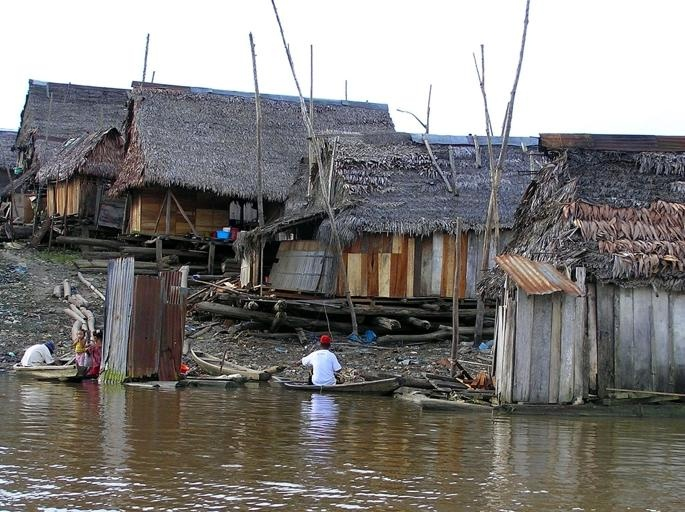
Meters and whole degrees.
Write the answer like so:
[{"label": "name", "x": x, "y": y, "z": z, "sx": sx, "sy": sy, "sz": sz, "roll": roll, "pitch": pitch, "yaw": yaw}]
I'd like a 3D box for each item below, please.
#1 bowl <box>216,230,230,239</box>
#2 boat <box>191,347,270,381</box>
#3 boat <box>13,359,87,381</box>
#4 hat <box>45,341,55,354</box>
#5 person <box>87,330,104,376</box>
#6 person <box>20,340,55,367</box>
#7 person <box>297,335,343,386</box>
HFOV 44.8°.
[{"label": "bowl", "x": -3.913, "y": -0.699, "z": 27.243, "sx": 0.433, "sy": 0.330, "sz": 0.315, "roll": 4, "pitch": -8, "yaw": -15}, {"label": "boat", "x": -2.502, "y": 2.426, "z": 18.266, "sx": 0.852, "sy": 0.612, "sz": 2.146, "roll": 9, "pitch": -11, "yaw": -42}, {"label": "boat", "x": -6.046, "y": 2.432, "z": 17.364, "sx": 0.972, "sy": 0.235, "sz": 0.572, "roll": 1, "pitch": 1, "yaw": 1}, {"label": "hat", "x": -6.438, "y": 2.022, "z": 18.315, "sx": 0.202, "sy": 0.262, "sz": 0.254, "roll": -15, "pitch": -6, "yaw": -4}, {"label": "person", "x": -5.239, "y": 2.087, "z": 17.599, "sx": 0.260, "sy": 0.970, "sz": 0.440, "roll": 4, "pitch": -8, "yaw": -17}, {"label": "person", "x": -6.546, "y": 2.161, "z": 17.893, "sx": 0.818, "sy": 0.609, "sz": 0.470, "roll": 1, "pitch": -8, "yaw": -3}, {"label": "person", "x": -0.447, "y": 2.249, "z": 17.169, "sx": 0.893, "sy": 1.330, "sz": 1.202, "roll": 0, "pitch": 3, "yaw": 0}]
